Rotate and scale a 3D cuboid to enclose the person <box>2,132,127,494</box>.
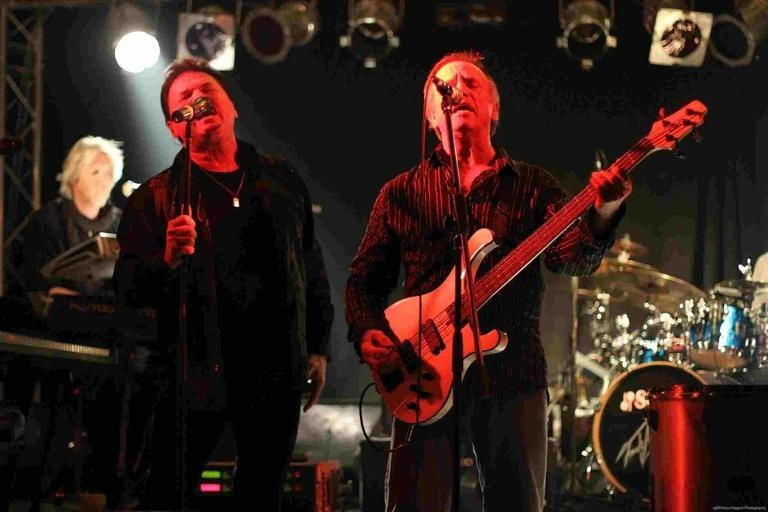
[{"bbox_3d":[-2.268,0.391,7.528,0.868,2.421,0.762,0,-23,17],"label":"person"}]

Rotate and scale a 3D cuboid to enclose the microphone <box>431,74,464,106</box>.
[{"bbox_3d":[0.358,-0.963,6.263,0.240,0.150,0.065,44,-12,-36],"label":"microphone"}]

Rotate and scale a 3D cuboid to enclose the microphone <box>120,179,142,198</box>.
[{"bbox_3d":[-1.839,-0.490,7.579,0.135,0.112,0.064,-31,-13,29],"label":"microphone"}]
